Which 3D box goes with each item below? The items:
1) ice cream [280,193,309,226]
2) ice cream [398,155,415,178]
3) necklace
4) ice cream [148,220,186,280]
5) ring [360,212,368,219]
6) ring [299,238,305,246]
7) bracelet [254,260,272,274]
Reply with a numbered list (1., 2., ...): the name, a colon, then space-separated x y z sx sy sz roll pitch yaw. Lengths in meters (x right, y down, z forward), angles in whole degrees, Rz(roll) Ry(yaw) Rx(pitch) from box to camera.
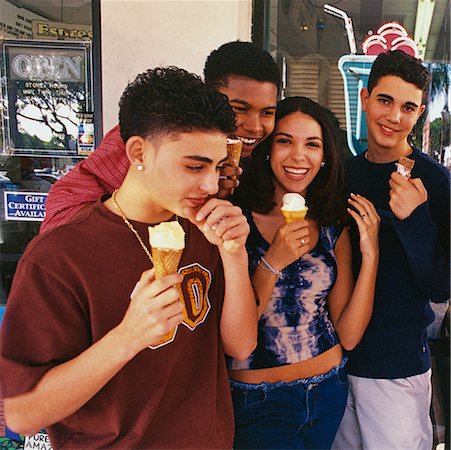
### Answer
1. ice cream: 0.368 -0.102 2.100 0.147 0.192 0.152 1 6 13
2. ice cream: 0.882 -0.287 2.078 0.095 0.085 0.030 15 10 9
3. necklace: -0.299 0.000 1.486 0.140 0.245 0.149 -2 16 -11
4. ice cream: -0.186 0.076 1.383 0.102 0.166 0.226 0 9 10
5. ring: 0.680 -0.048 2.076 0.032 0.024 0.011 49 -3 37
6. ring: 0.348 0.076 1.932 0.020 0.026 0.010 -11 -40 41
7. bracelet: 0.166 0.181 1.897 0.049 0.016 0.062 15 -35 55
